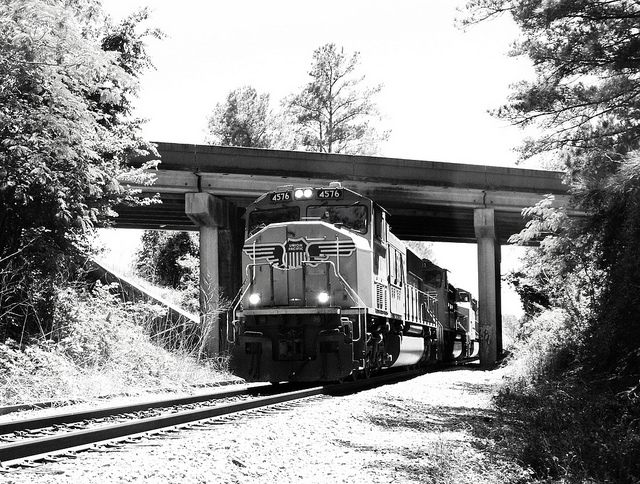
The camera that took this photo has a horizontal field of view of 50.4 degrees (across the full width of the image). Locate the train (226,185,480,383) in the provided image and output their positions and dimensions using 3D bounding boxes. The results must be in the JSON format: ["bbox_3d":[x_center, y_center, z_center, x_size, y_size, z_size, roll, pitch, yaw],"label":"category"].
[{"bbox_3d":[1.758,1.915,21.904,3.726,5.260,13.612,-4,-10,15],"label":"train"}]
